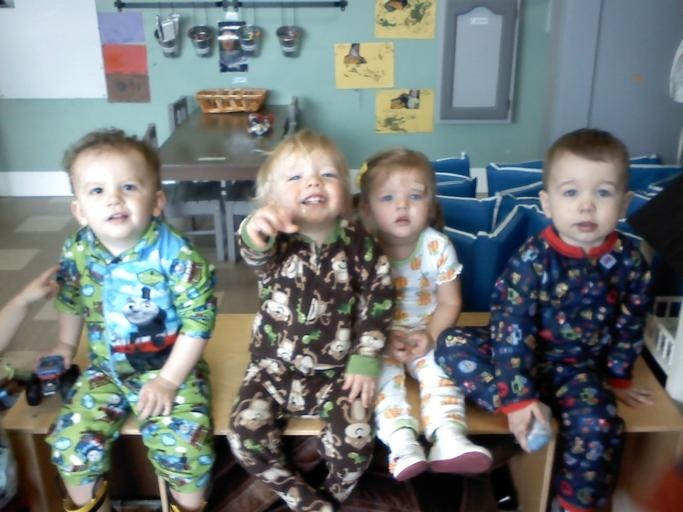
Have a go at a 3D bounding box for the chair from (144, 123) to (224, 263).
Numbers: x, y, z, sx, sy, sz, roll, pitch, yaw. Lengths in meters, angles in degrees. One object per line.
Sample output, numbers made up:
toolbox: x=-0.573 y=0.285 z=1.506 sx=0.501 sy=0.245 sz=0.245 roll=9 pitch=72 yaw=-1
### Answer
chair: x=-0.936 y=-0.422 z=3.856 sx=0.464 sy=0.639 sz=0.431 roll=-13 pitch=7 yaw=3

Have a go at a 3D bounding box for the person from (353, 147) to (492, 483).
person: x=0.193 y=0.116 z=1.724 sx=0.476 sy=0.739 sz=1.071 roll=-4 pitch=15 yaw=1
